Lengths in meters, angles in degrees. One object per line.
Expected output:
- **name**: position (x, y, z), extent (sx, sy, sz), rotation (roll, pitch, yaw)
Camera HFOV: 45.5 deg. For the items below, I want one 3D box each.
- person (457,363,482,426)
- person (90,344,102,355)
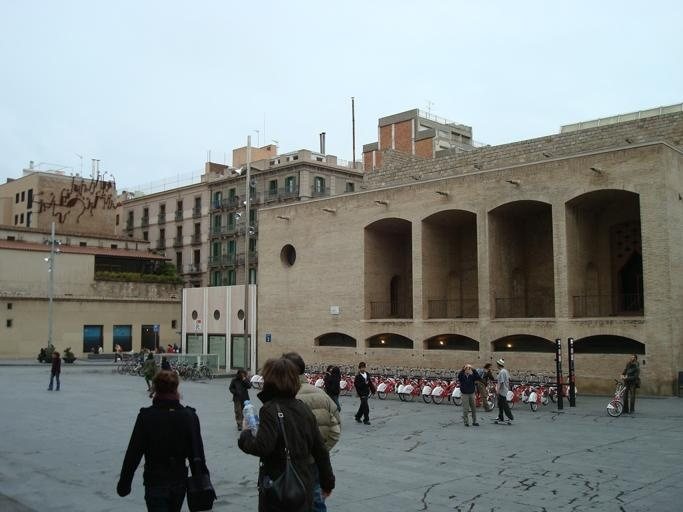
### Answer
- **person**: position (4.454, 4.861, 28.831), extent (1.033, 2.187, 0.935), rotation (8, -18, -17)
- **person**: position (-20.055, 7.712, 67.051), extent (0.975, 1.166, 0.704), rotation (-1, -3, 5)
